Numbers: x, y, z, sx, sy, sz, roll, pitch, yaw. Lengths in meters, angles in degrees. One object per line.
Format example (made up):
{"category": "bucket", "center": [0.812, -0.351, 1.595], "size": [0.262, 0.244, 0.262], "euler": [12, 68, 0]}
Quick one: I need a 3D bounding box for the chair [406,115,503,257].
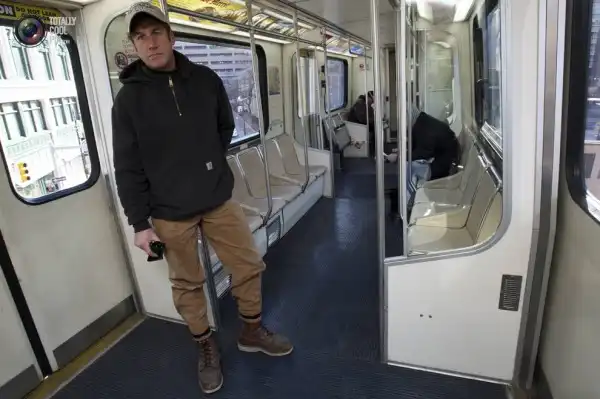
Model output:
{"category": "chair", "center": [1.150, -0.005, 2.503], "size": [0.609, 0.775, 0.430], "euler": [3, 20, 18]}

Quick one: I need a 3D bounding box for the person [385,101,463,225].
{"category": "person", "center": [1.073, -0.351, 2.746], "size": [0.570, 0.854, 0.386], "euler": [-4, 23, 33]}

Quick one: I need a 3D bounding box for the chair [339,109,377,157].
{"category": "chair", "center": [1.703, -2.302, 10.094], "size": [0.835, 1.491, 2.190], "euler": [-1, 20, 7]}

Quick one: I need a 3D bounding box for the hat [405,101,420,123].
{"category": "hat", "center": [0.856, -0.641, 2.477], "size": [0.069, 0.146, 0.315], "euler": [5, 20, 23]}

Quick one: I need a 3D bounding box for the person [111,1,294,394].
{"category": "person", "center": [-0.848, 0.022, 2.638], "size": [0.993, 2.913, 0.801], "euler": [-14, 21, -28]}
